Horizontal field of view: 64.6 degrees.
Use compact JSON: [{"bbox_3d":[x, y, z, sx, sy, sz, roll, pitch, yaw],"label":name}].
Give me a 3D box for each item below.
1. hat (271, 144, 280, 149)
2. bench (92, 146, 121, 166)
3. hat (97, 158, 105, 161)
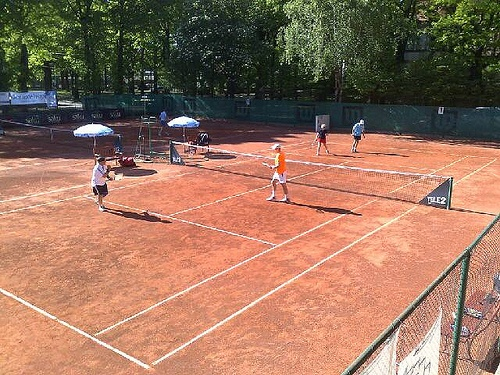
[{"bbox_3d":[1.006,-1.539,15.061,0.555,0.164,0.548,-1,7,2],"label":"hat"},{"bbox_3d":[-7.896,-1.682,21.845,1.671,1.061,0.678,16,26,32],"label":"bench"},{"bbox_3d":[-5.442,-0.996,14.423,0.164,0.120,0.162,1,6,-17],"label":"hat"}]
